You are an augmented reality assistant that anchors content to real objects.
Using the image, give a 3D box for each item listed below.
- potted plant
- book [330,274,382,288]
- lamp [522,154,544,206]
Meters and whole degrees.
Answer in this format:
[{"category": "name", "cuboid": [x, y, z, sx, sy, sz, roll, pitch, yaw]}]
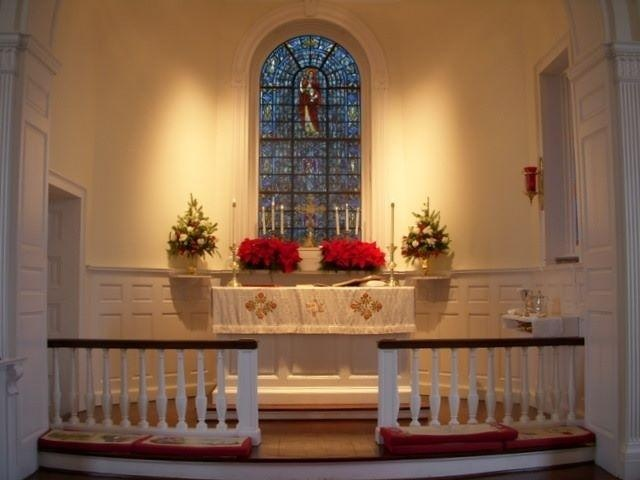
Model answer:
[{"category": "potted plant", "cuboid": [-0.153, -0.012, 9.034, 3.436, 1.519, 0.823, -1, -6, 0]}, {"category": "book", "cuboid": [0.432, 0.497, 7.654, 0.646, 0.110, 0.345, 1, -4, -43]}, {"category": "lamp", "cuboid": [2.739, -0.710, 8.251, 0.249, 0.662, 0.271, -2, -2, 17]}]
